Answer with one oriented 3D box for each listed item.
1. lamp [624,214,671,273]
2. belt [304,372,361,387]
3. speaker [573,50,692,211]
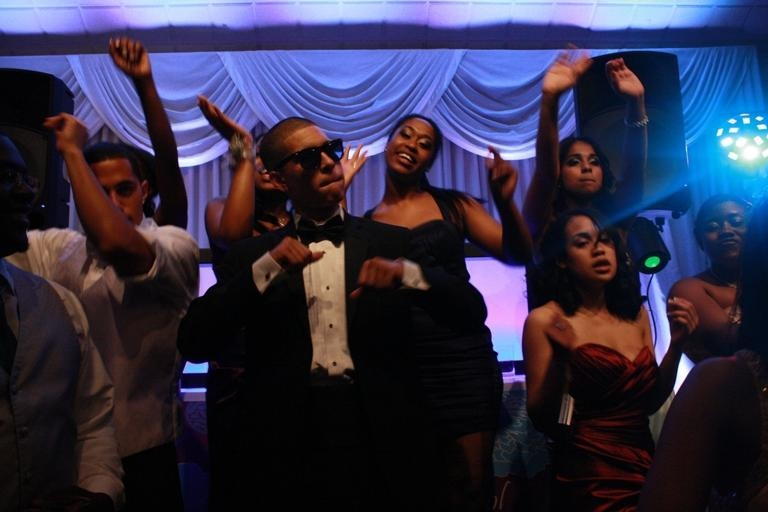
[{"bbox_3d":[1.248,-0.058,3.235,0.192,0.269,0.293,1,2,18],"label":"lamp"},{"bbox_3d":[-0.196,0.454,2.526,0.174,0.056,0.008,0,2,-1],"label":"belt"},{"bbox_3d":[1.294,-0.663,3.562,0.570,0.907,0.486,1,2,13],"label":"speaker"}]
